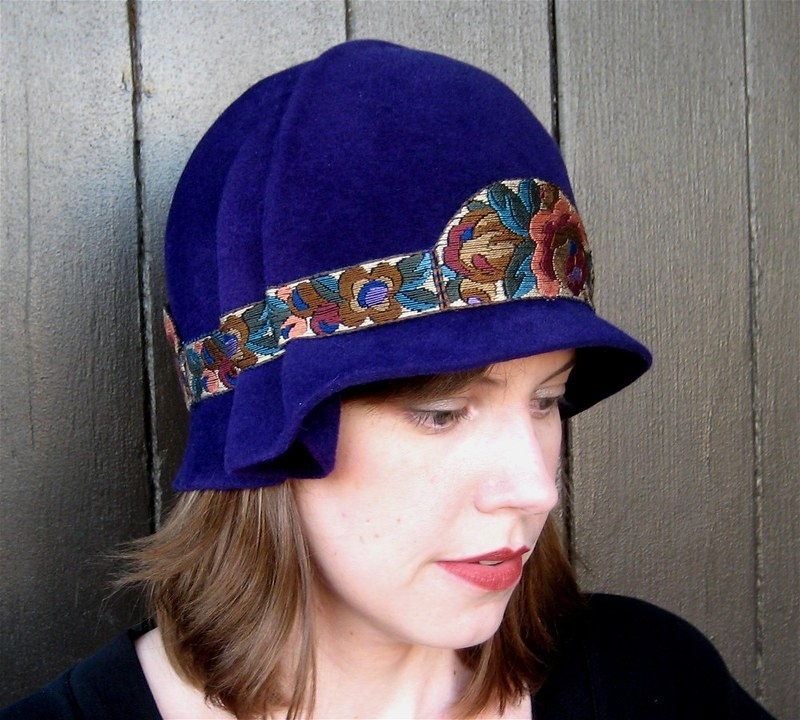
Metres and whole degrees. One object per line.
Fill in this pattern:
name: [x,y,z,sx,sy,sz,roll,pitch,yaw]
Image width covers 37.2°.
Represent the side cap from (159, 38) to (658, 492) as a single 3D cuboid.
side cap: [-0.106,-0.152,1.924,0.794,0.419,0.671,-20,83,-6]
